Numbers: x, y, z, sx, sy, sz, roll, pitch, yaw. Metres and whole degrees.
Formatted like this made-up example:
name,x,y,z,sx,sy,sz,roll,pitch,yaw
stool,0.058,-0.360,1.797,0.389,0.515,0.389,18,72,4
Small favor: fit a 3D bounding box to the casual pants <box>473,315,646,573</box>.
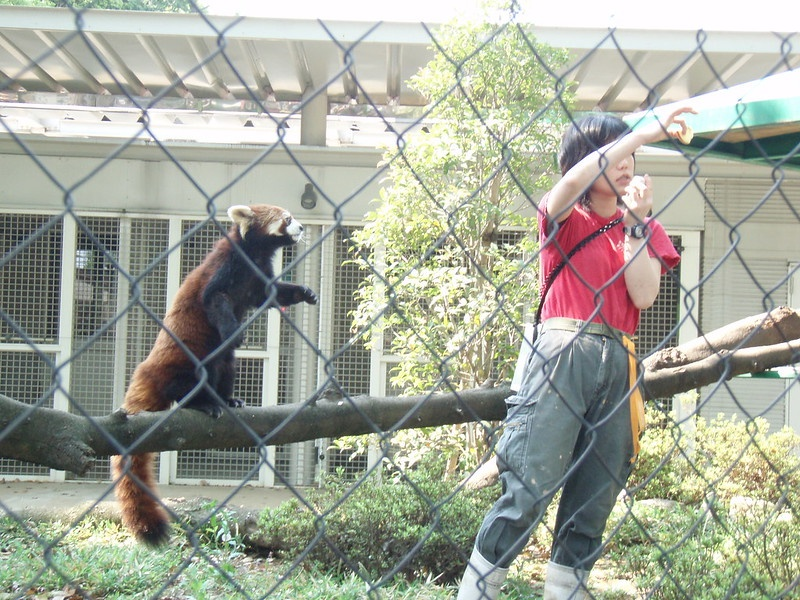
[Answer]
name,x,y,z,sx,sy,sz,roll,pitch,yaw
casual pants,1.026,0.913,6.985,1.010,1.577,0.637,5,-2,-1
